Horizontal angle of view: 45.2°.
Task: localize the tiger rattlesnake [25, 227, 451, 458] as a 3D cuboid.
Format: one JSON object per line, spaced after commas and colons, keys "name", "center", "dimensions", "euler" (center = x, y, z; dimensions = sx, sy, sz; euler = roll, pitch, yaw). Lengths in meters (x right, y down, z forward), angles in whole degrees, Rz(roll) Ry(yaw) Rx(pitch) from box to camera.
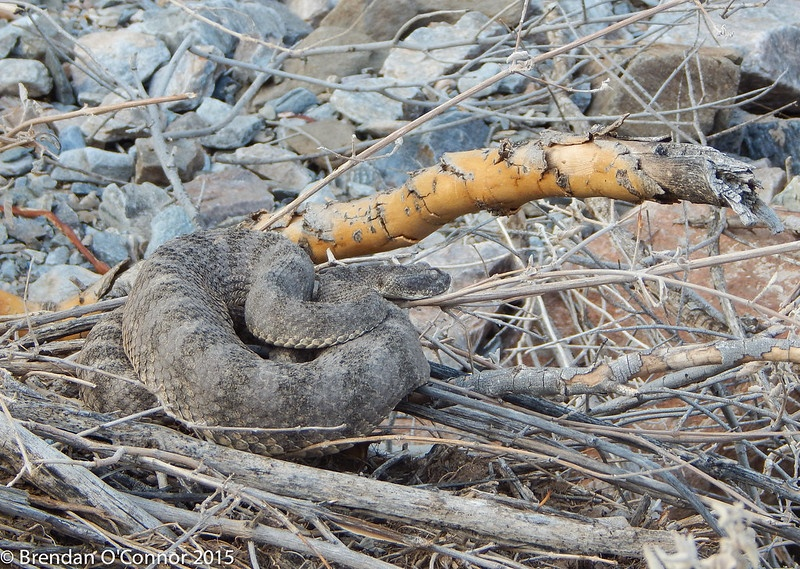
{"name": "tiger rattlesnake", "center": [-0.756, 0.250, 5.781], "dimensions": [1.781, 0.668, 1.744], "euler": [30, 56, 33]}
